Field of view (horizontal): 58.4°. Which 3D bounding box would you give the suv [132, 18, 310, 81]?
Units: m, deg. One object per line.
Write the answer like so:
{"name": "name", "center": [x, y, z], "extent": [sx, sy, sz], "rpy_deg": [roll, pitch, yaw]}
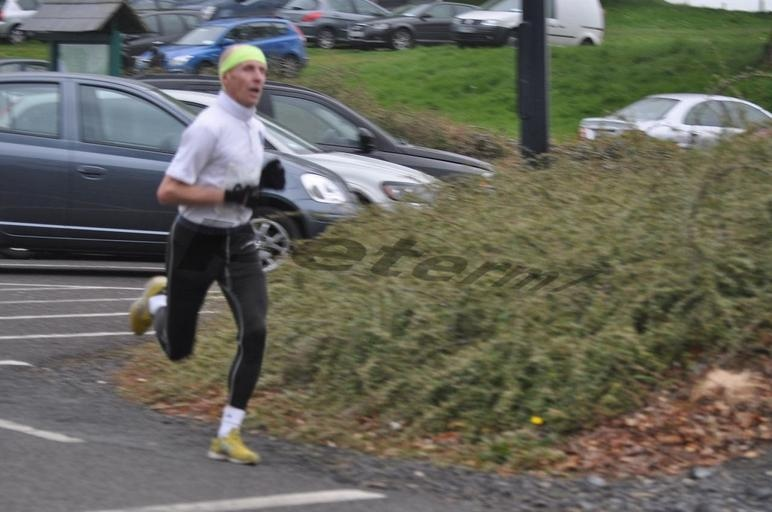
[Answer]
{"name": "suv", "center": [-4.864, -5.881, 19.435], "extent": [2.564, 1.517, 5.219], "rpy_deg": [22, 31, 26]}

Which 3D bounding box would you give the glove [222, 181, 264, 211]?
{"name": "glove", "center": [-0.839, -0.341, 4.014], "extent": [0.124, 0.142, 0.220], "rpy_deg": [13, 18, 25]}

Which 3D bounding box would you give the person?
{"name": "person", "center": [-1.051, -0.031, 4.202], "extent": [0.763, 2.487, 1.243], "rpy_deg": [0, 20, -17]}

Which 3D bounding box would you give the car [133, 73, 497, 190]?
{"name": "car", "center": [-0.777, -1.939, 10.386], "extent": [5.495, 1.156, 1.901], "rpy_deg": [1, 8, -1]}

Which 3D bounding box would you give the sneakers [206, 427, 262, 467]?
{"name": "sneakers", "center": [-0.880, 1.137, 4.160], "extent": [0.433, 0.166, 0.210], "rpy_deg": [-3, -3, 40]}
